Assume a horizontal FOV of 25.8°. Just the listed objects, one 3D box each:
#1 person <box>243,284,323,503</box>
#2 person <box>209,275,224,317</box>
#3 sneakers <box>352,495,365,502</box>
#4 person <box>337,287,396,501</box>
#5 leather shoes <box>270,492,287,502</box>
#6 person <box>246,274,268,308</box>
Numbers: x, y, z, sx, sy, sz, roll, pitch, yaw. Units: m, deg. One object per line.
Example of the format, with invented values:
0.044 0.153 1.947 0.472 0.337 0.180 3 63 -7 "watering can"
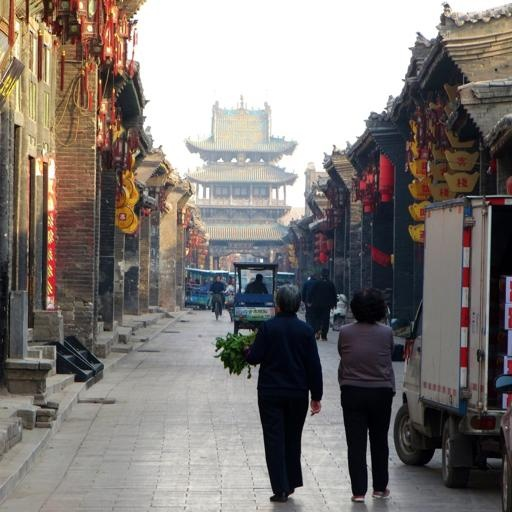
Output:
0.240 1.179 9.675 0.640 1.858 0.335 0 -5 -1 "person"
-1.432 1.576 41.030 0.548 0.929 1.302 0 -7 -3 "person"
0.860 2.078 9.540 0.110 0.057 0.083 -2 -6 10 "sneakers"
0.952 1.204 9.638 0.462 1.811 0.281 0 -5 1 "person"
0.193 2.067 9.512 0.155 0.099 0.064 2 -2 23 "leather shoes"
0.004 0.935 28.557 0.539 1.123 0.302 4 4 25 "person"
